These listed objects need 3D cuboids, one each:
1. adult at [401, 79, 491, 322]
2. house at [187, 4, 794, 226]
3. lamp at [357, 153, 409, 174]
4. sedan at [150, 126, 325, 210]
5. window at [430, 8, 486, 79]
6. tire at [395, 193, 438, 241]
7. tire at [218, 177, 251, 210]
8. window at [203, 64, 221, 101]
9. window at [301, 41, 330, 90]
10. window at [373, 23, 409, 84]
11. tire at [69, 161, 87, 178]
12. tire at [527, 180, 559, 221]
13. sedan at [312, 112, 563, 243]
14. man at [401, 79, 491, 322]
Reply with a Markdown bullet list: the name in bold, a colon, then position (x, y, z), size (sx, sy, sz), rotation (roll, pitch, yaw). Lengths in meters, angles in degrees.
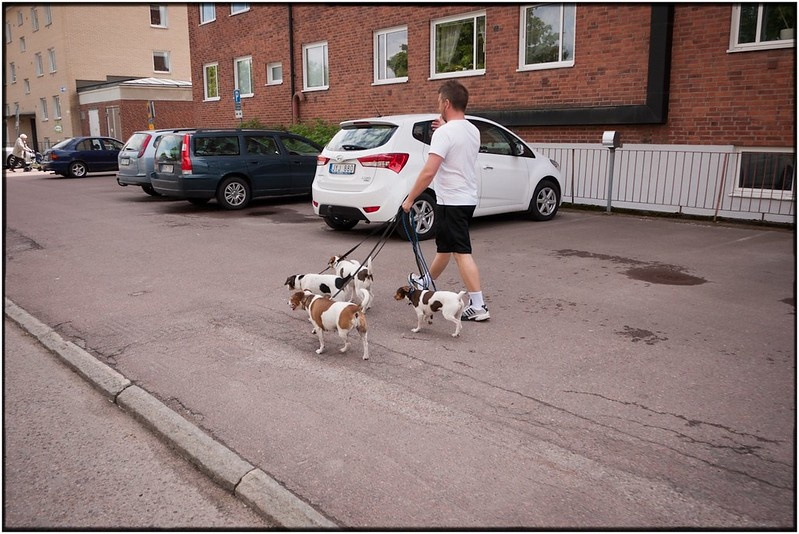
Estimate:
- **adult**: position (0.617, -0.769, 5.718), size (0.961, 2.810, 0.938), rotation (1, 13, 10)
- **house**: position (2.823, -4.134, 12.824), size (10.752, 3.660, 3.181), rotation (5, 13, 38)
- **lamp**: position (-0.281, -1.942, 8.911), size (0.560, 0.212, 0.423), rotation (9, 10, 6)
- **sedan**: position (-4.472, -2.916, 14.151), size (4.737, 1.640, 2.513), rotation (-12, 18, -39)
- **window**: position (2.131, -7.439, 16.114), size (2.690, 1.975, 0.165), rotation (12, 21, 37)
- **tire**: position (0.299, -0.872, 8.162), size (0.804, 0.798, 0.263), rotation (-41, 34, -25)
- **tire**: position (-4.761, -2.104, 13.559), size (0.671, 0.665, 0.218), rotation (-38, 37, -21)
- **window**: position (-10.261, -10.038, 25.920), size (0.166, 2.188, 1.916), rotation (-11, 18, -41)
- **window**: position (-3.671, -8.803, 20.813), size (2.102, 2.375, 0.164), rotation (14, 19, 42)
- **window**: position (-0.291, -8.120, 18.086), size (2.369, 2.518, 0.154), rotation (11, 15, 41)
- **tire**: position (-16.136, -4.818, 23.697), size (0.272, 0.735, 0.750), rotation (23, 22, 37)
- **tire**: position (3.349, -1.574, 11.138), size (0.936, 0.915, 0.331), rotation (-1, 10, -37)
- **sedan**: position (0.918, -1.894, 10.287), size (4.966, 2.069, 2.632), rotation (-14, 18, -30)
- **man**: position (0.616, -0.768, 5.713), size (0.961, 2.810, 0.913), rotation (1, 13, 10)
